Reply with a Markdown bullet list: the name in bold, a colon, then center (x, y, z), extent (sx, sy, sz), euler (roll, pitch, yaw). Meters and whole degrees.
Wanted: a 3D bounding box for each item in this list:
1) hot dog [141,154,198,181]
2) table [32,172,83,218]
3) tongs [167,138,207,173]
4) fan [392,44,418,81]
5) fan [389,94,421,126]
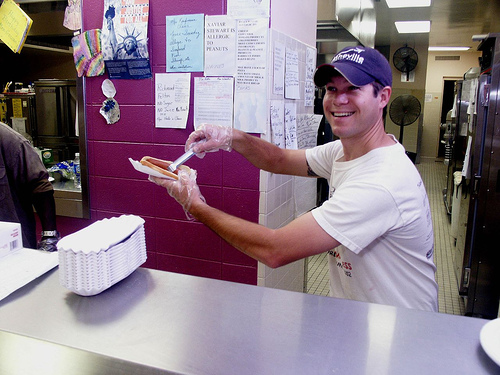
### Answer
- **hot dog**: center (-0.393, -0.102, 1.892), extent (0.203, 0.048, 0.122), euler (24, 14, 10)
- **table**: center (-1.553, 0.076, 3.204), extent (0.446, 0.112, 0.417), euler (0, 26, -26)
- **tongs**: center (-0.290, -0.158, 1.777), extent (0.031, 0.049, 0.275), euler (29, 58, 26)
- **fan**: center (3.896, -3.027, 9.441), extent (0.659, 1.107, 0.430), euler (-2, -4, 11)
- **fan**: center (3.645, -1.822, 8.868), extent (0.655, 0.736, 0.460), euler (4, 10, 19)
